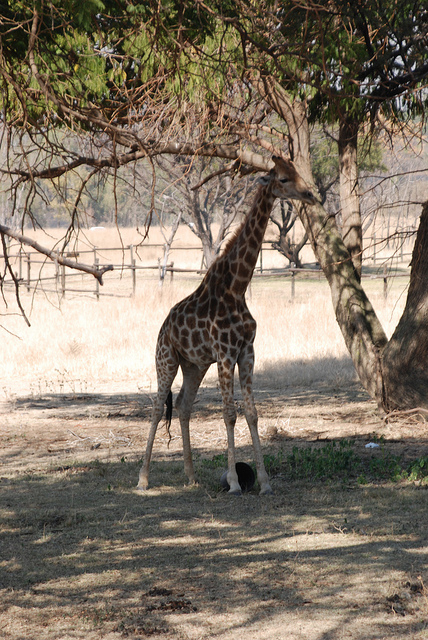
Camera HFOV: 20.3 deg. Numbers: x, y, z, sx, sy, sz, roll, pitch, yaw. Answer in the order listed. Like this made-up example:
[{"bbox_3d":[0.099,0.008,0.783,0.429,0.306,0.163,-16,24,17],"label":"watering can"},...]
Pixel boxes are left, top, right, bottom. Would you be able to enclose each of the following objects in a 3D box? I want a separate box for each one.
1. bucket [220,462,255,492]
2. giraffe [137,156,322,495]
[{"bbox_3d":[0.198,1.287,9.872,0.202,0.260,0.233,20,2,-18],"label":"bucket"},{"bbox_3d":[0.066,0.037,9.963,1.469,2.721,0.704,0,5,23],"label":"giraffe"}]
